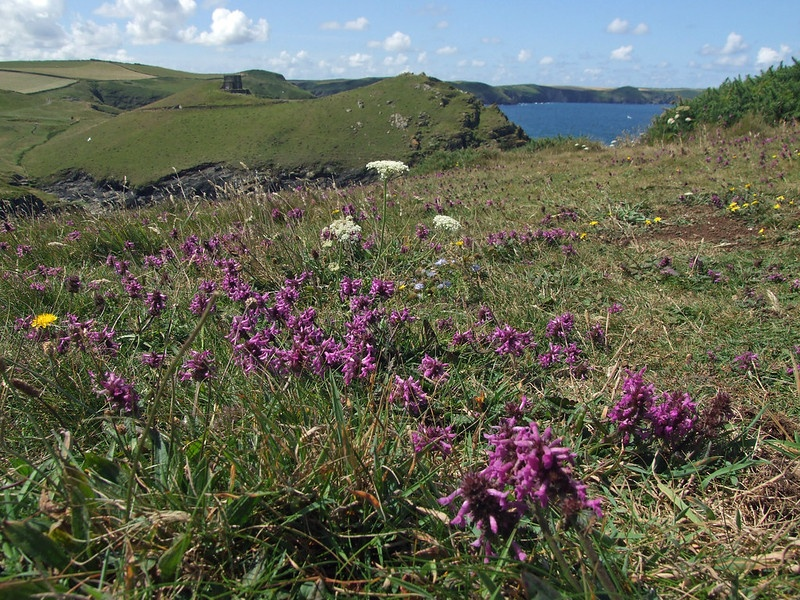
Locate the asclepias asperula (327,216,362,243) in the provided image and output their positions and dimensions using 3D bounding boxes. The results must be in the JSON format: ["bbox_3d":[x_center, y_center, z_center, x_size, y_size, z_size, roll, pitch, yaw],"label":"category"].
[{"bbox_3d":[-0.513,-0.702,5.895,0.329,0.134,0.344,15,22,34],"label":"asclepias asperula"}]

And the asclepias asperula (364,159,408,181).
[{"bbox_3d":[-0.127,-1.490,6.647,0.445,0.218,0.447,1,14,-2],"label":"asclepias asperula"}]
